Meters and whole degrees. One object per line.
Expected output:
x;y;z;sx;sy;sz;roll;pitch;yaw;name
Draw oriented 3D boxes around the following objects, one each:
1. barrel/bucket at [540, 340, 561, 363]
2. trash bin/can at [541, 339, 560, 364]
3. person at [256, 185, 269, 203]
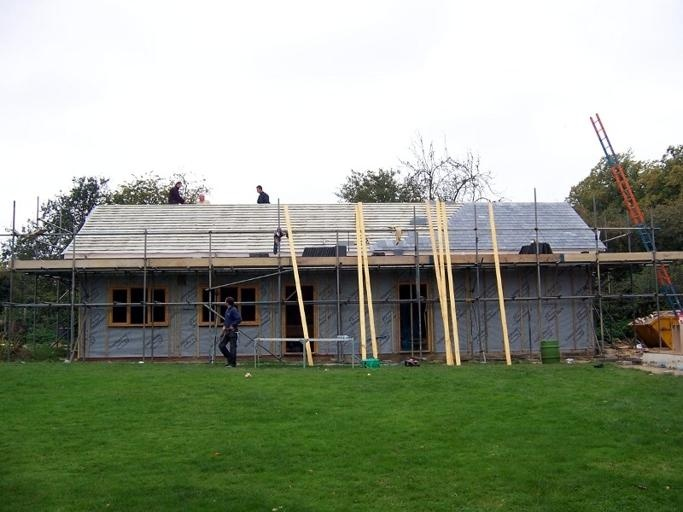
5.911;2.724;19.607;0.534;0.598;0.558;1;-11;0;barrel/bucket
5.848;2.702;19.506;0.532;0.596;0.557;2;-11;-6;trash bin/can
-2.795;-2.161;24.641;0.366;0.595;1.080;-1;11;-9;person
